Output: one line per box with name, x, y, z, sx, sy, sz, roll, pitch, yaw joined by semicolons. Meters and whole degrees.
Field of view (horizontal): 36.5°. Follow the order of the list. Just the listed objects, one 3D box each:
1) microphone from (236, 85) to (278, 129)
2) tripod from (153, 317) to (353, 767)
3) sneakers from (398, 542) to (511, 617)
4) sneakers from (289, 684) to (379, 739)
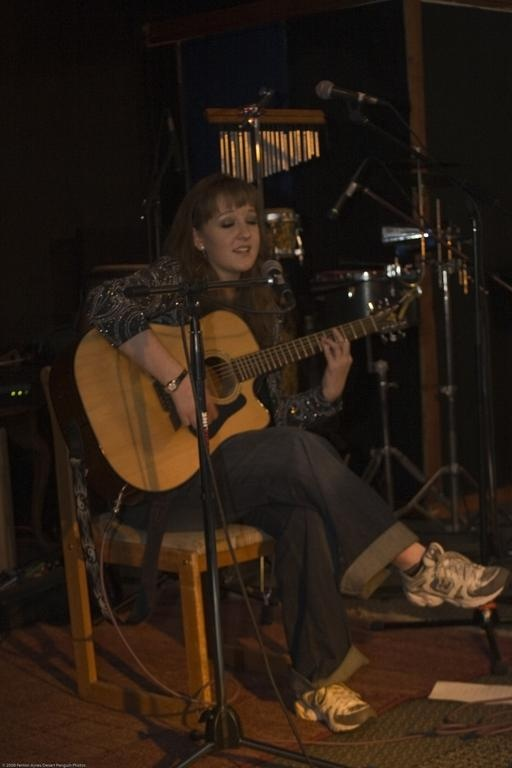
microphone;-0.002;-1.263;3.527;0.131;0.208;0.312;-4;7;0
tripod;-0.011;0.360;1.773;0.357;1.041;0.498;-4;7;4
sneakers;0.483;0.485;1.930;0.327;0.120;0.155;-4;-36;12
sneakers;0.189;0.772;1.898;0.122;0.059;0.155;-3;3;-23
